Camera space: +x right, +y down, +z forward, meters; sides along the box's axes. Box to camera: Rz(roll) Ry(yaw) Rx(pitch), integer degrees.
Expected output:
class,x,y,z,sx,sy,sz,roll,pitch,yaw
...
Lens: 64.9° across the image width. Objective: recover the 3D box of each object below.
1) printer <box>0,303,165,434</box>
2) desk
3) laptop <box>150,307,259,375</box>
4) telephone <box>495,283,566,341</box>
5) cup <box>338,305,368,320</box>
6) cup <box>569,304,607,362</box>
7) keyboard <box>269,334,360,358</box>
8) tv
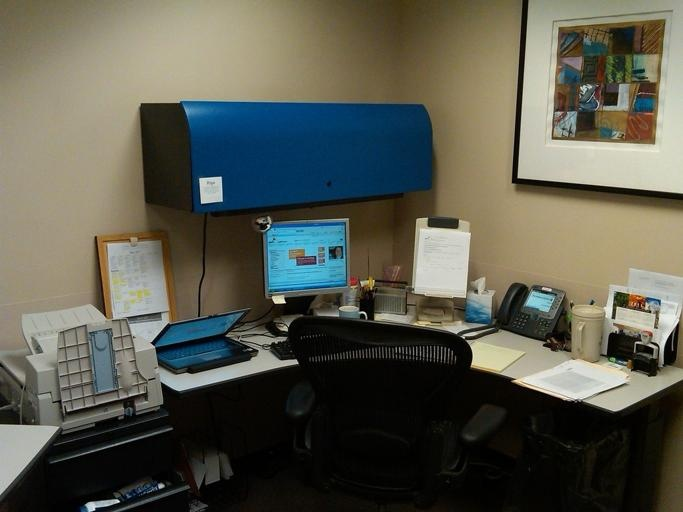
class,x,y,z,sx,sy,sz,roll,pitch,yaw
printer,-1.041,0.385,2.144,0.431,0.383,0.537,-9,16,-35
desk,-0.125,0.755,3.080,1.379,0.610,1.441,2,10,-43
laptop,-0.663,0.367,2.541,0.452,0.224,0.350,-9,16,-30
telephone,1.035,0.288,2.821,0.300,0.096,0.219,-42,33,-28
cup,0.060,0.288,2.789,0.131,0.089,0.087,5,9,20
cup,1.144,0.365,2.508,0.137,0.232,0.093,5,14,23
keyboard,-0.098,0.354,2.101,0.163,0.042,0.119,2,15,-22
tv,-0.195,0.092,2.792,0.548,0.649,0.240,-4,7,-21
